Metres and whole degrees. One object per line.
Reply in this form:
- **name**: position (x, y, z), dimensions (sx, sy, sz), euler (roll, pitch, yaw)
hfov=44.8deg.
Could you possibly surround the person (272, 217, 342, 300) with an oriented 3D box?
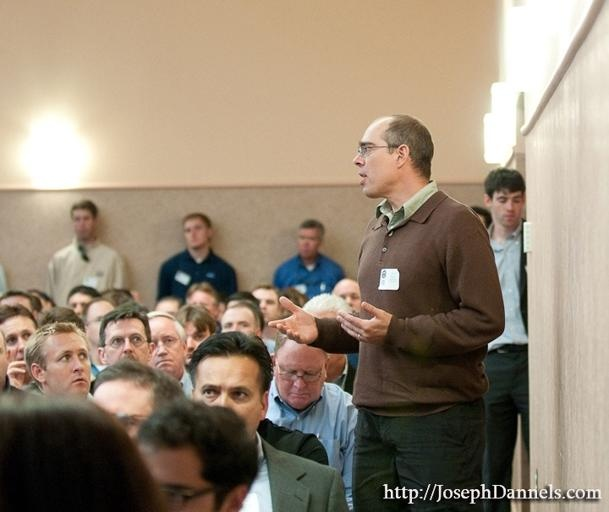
- **person**: position (0.033, 0.148, 6.449), dimensions (0.542, 0.939, 0.415), euler (-1, -3, 9)

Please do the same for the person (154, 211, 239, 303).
- **person**: position (-0.820, 0.120, 5.627), dimensions (0.590, 1.000, 0.240), euler (1, 24, -4)

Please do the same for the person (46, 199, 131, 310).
- **person**: position (-1.285, -0.011, 4.394), dimensions (0.485, 0.803, 0.235), euler (-1, 6, -7)
